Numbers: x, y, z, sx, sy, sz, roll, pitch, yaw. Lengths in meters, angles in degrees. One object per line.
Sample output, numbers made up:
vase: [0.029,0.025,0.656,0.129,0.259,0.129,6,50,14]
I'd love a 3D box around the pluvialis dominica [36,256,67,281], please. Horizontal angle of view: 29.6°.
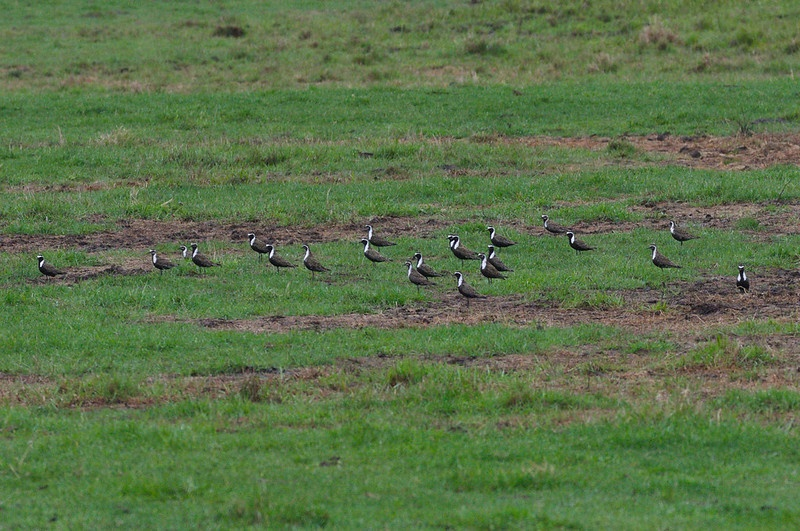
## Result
pluvialis dominica: [-10.616,0.043,46.266,0.782,0.571,0.574,-4,19,-14]
